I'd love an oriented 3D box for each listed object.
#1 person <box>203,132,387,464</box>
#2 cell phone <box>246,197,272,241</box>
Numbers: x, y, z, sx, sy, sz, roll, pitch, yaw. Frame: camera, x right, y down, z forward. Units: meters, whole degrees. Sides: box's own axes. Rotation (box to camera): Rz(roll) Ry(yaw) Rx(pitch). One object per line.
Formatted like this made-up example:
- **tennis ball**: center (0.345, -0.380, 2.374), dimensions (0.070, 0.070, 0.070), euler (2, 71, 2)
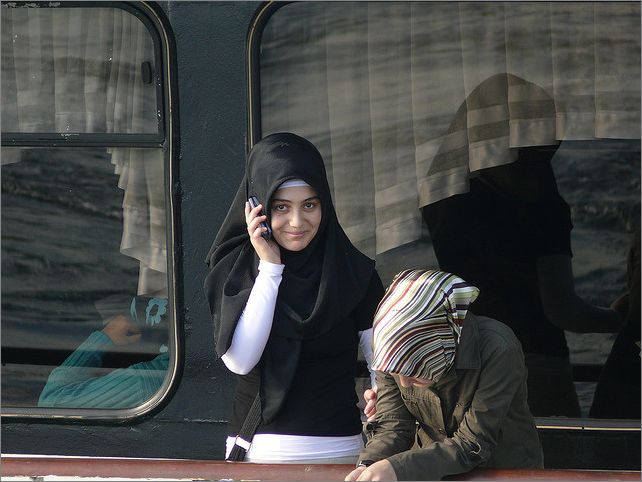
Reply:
- **person**: center (-0.112, 0.246, 6.570), dimensions (0.802, 1.442, 0.403), euler (-2, 6, -4)
- **cell phone**: center (-0.259, -0.097, 6.534), dimensions (0.114, 0.176, 0.056), euler (-8, -3, -5)
